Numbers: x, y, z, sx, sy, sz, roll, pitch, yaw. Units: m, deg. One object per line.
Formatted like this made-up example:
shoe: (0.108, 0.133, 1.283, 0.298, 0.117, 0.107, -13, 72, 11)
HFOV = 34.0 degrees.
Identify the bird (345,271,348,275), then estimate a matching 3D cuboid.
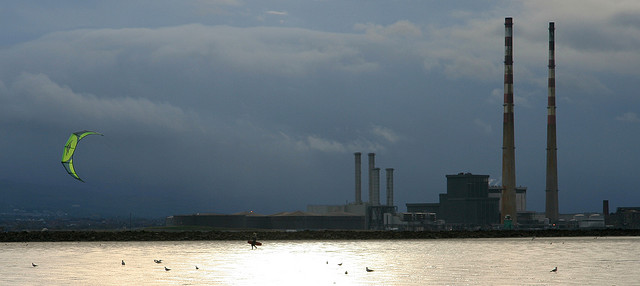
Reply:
bird: (6.501, 32.901, 270.040, 0.729, 0.719, 0.297, 1, -12, 1)
